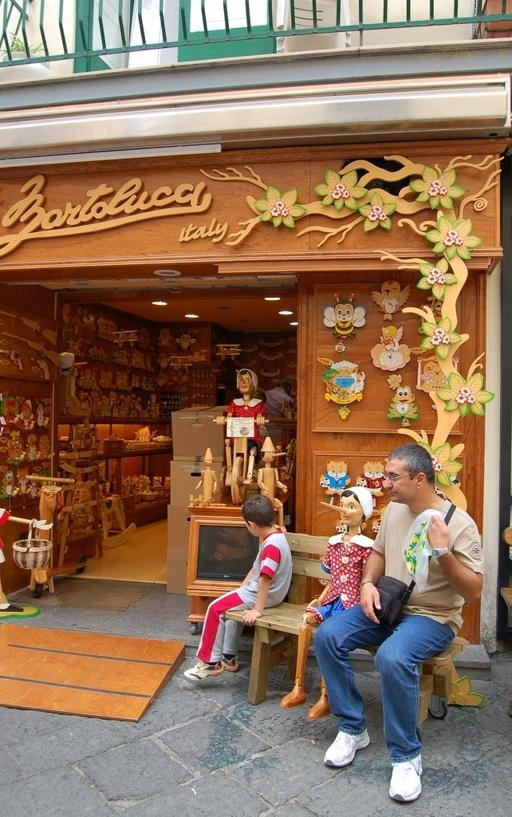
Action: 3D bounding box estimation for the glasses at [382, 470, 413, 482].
[{"bbox_3d":[0.581,0.276,2.578,0.113,0.033,0.106,3,-3,-34],"label":"glasses"}]

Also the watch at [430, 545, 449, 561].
[{"bbox_3d":[0.693,0.555,2.421,0.071,0.042,0.071,4,-24,-7],"label":"watch"}]

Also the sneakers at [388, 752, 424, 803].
[{"bbox_3d":[0.559,1.389,2.352,0.070,0.092,0.207,-3,-12,18],"label":"sneakers"}]

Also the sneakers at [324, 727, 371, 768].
[{"bbox_3d":[0.385,1.417,2.645,0.086,0.100,0.224,-6,-11,33],"label":"sneakers"}]

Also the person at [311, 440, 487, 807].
[{"bbox_3d":[0.610,0.820,2.644,0.543,1.336,0.593,3,-2,-42],"label":"person"}]

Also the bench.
[{"bbox_3d":[0.488,1.085,3.133,1.120,0.793,0.538,-1,-2,35],"label":"bench"}]

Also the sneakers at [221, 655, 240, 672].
[{"bbox_3d":[-0.142,1.411,3.485,0.063,0.070,0.158,1,-2,-7],"label":"sneakers"}]

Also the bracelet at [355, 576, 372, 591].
[{"bbox_3d":[0.491,0.807,2.891,0.062,0.034,0.080,-2,-6,-2],"label":"bracelet"}]
